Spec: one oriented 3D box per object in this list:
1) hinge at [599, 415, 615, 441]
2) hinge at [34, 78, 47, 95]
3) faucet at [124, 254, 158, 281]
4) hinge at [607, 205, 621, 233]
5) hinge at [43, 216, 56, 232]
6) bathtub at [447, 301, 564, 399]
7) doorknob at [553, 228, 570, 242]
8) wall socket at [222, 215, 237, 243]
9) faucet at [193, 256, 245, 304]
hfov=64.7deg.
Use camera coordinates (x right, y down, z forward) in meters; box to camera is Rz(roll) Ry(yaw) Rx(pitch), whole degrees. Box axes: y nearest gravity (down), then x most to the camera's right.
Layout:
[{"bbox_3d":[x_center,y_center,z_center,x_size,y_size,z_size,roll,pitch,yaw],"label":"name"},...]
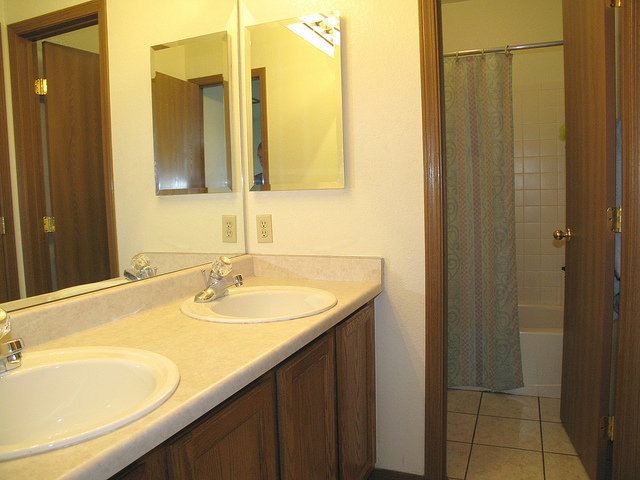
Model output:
[{"bbox_3d":[1.277,0.851,2.261,0.053,0.122,0.078,2,8,29],"label":"hinge"},{"bbox_3d":[-0.875,-0.483,1.583,0.007,0.071,0.050,8,8,18],"label":"hinge"},{"bbox_3d":[-0.682,0.102,1.929,0.039,0.092,0.163,-1,7,14],"label":"faucet"},{"bbox_3d":[1.284,-0.088,2.214,0.016,0.113,0.056,-8,9,-35],"label":"hinge"},{"bbox_3d":[-0.867,-0.052,1.622,0.006,0.066,0.046,3,5,24],"label":"hinge"},{"bbox_3d":[1.406,0.754,3.451,0.782,0.356,0.577,1,-4,-26],"label":"bathtub"},{"bbox_3d":[1.286,-0.026,2.718,0.083,0.065,0.060,-1,-2,-17],"label":"doorknob"},{"bbox_3d":[-0.427,-0.052,2.385,0.025,0.129,0.110,1,8,24],"label":"wall socket"},{"bbox_3d":[-0.417,0.152,2.040,0.183,0.159,0.209,-4,7,-15],"label":"faucet"}]
